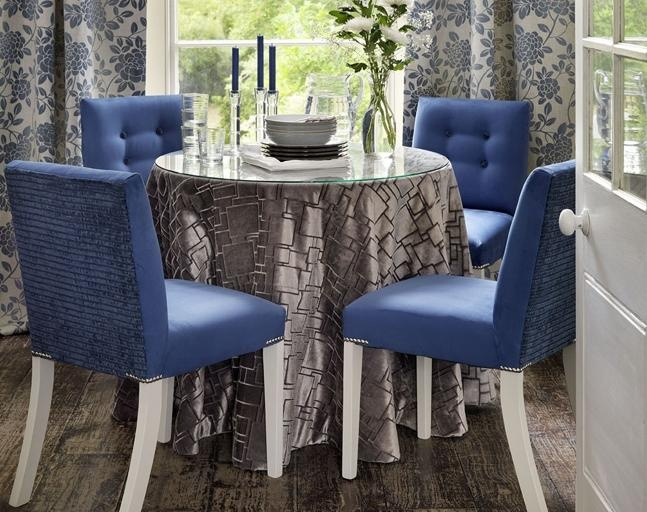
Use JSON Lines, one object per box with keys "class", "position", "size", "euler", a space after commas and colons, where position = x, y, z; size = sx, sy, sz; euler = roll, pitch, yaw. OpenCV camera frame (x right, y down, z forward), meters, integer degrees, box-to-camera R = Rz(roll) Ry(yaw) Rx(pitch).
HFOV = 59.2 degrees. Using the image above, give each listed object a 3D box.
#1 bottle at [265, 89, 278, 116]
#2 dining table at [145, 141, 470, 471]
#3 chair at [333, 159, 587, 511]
{"class": "bottle", "position": [-0.222, -0.650, 2.408], "size": [0.053, 0.099, 0.041], "euler": [-2, 14, -7]}
{"class": "dining table", "position": [-0.036, 0.102, 2.332], "size": [0.936, 0.847, 1.049], "euler": [0, 11, 3]}
{"class": "chair", "position": [0.649, 0.052, 2.214], "size": [0.844, 1.501, 0.852], "euler": [6, 11, 27]}
